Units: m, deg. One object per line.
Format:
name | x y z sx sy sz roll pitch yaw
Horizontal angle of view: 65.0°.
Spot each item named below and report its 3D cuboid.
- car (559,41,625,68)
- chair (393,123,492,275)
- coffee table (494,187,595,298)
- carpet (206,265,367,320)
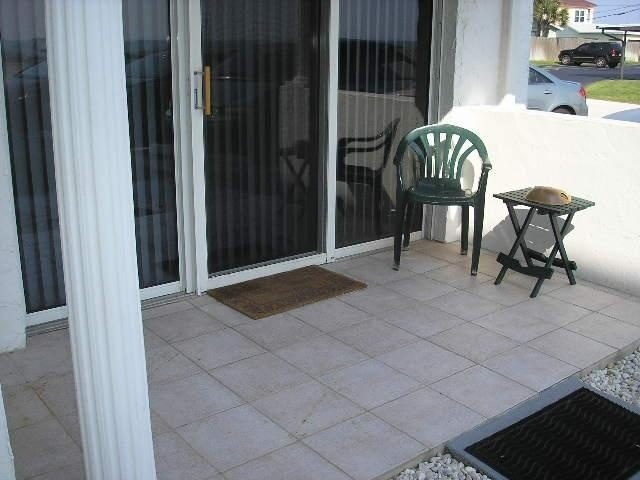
car | 21.468 -14.565 39.506 3.938 1.820 2.535 10 23 26
chair | 1.115 -0.376 4.640 0.828 1.196 0.696 4 19 12
coffee table | 1.878 -0.021 4.352 0.699 0.865 0.666 -17 27 -37
carpet | -0.279 0.409 4.148 1.133 0.052 0.618 -14 25 -32
